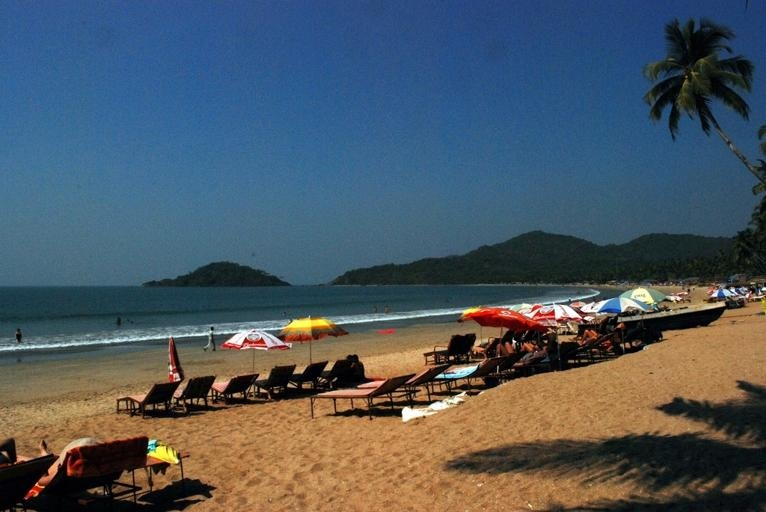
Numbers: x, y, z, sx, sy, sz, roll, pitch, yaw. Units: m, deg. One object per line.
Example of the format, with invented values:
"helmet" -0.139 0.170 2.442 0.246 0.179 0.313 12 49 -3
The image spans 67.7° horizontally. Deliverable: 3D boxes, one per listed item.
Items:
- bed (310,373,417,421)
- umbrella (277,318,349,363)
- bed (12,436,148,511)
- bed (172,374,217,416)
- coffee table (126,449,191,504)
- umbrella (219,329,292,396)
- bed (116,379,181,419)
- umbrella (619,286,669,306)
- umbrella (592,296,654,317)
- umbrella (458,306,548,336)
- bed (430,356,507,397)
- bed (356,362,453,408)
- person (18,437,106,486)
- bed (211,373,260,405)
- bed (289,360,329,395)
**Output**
"bed" -0.456 3.162 13.191 1.606 0.580 1.419 -3 -8 21
"umbrella" -2.030 2.404 16.125 1.800 1.235 1.588 -3 2 -8
"bed" -4.780 3.474 9.045 1.895 0.644 1.089 -13 -22 26
"bed" -4.949 3.573 14.596 1.437 0.746 0.829 -18 -17 28
"coffee table" -3.727 3.687 9.672 1.055 0.469 0.993 -1 4 -30
"umbrella" -3.629 2.698 16.500 1.906 1.103 1.709 2 4 -22
"bed" -5.999 3.582 14.431 1.122 0.755 2.015 -1 -6 -38
"umbrella" 9.002 1.374 19.639 1.293 0.407 1.227 1 2 -38
"umbrella" 7.368 1.569 17.712 1.427 0.408 1.407 -8 -8 32
"umbrella" 3.480 1.838 16.383 2.022 0.814 2.544 -6 -5 10
"bed" 2.115 3.046 14.694 1.860 0.559 1.123 -12 -6 36
"bed" 0.386 3.170 13.570 2.379 0.722 0.895 -15 -14 43
"person" -5.225 3.292 9.205 2.191 0.755 0.612 -6 -23 13
"bed" -4.087 3.563 15.278 1.328 0.676 0.824 -8 -10 38
"bed" -2.141 3.391 16.033 0.729 0.712 1.281 4 -5 -33
